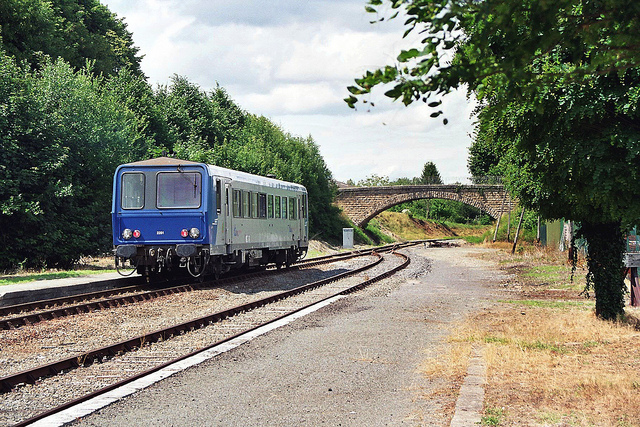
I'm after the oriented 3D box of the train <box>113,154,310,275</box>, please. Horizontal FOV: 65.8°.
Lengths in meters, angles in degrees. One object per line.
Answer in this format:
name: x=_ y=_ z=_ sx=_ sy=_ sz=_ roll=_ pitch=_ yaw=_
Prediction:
train: x=-3.917 y=0.401 z=24.838 sx=3.719 sy=4.317 sz=13.625 roll=0 pitch=-1 yaw=23
